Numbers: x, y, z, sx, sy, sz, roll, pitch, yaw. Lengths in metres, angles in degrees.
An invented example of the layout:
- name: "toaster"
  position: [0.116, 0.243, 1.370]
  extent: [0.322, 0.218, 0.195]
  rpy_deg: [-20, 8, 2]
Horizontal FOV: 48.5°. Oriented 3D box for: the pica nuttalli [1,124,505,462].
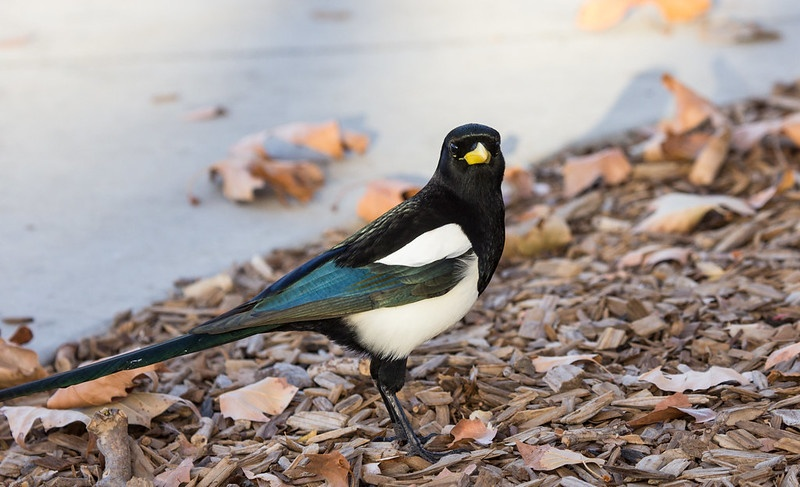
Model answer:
- name: "pica nuttalli"
  position: [-0.259, 0.298, 5.420]
  extent: [2.634, 0.560, 0.997]
  rpy_deg: [-34, 74, -9]
